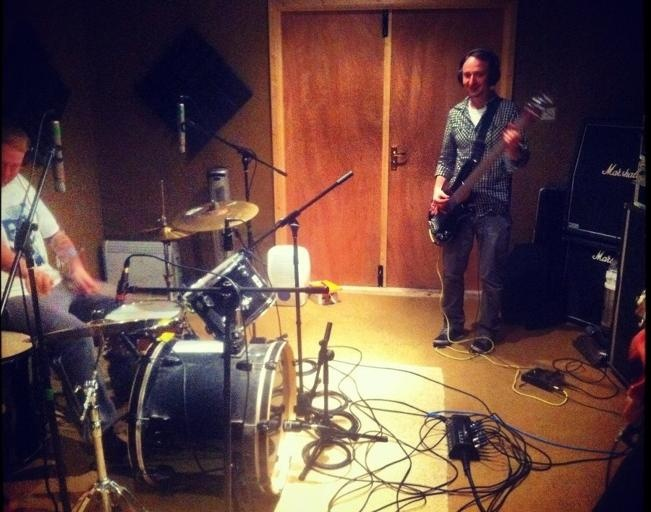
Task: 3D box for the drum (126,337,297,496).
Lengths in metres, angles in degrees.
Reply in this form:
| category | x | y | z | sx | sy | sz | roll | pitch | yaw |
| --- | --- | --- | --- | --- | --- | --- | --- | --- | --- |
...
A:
| category | x | y | z | sx | sy | sz | roll | pitch | yaw |
| --- | --- | --- | --- | --- | --- | --- | --- | --- | --- |
| drum | -0.743 | 1.024 | 3.318 | 0.900 | 0.890 | 0.905 | 4 | -17 | -3 |

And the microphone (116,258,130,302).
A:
| category | x | y | z | sx | sy | sz | roll | pitch | yaw |
| --- | --- | --- | --- | --- | --- | --- | --- | --- | --- |
| microphone | -1.012 | 0.118 | 2.976 | 0.053 | 0.223 | 0.496 | 1 | 1 | -19 |

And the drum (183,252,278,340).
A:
| category | x | y | z | sx | sy | sz | roll | pitch | yaw |
| --- | --- | --- | --- | --- | --- | --- | --- | --- | --- |
| drum | -0.569 | 0.236 | 3.568 | 0.488 | 0.363 | 0.537 | -37 | 9 | 7 |

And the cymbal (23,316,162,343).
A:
| category | x | y | z | sx | sy | sz | roll | pitch | yaw |
| --- | --- | --- | --- | --- | --- | --- | --- | --- | --- |
| cymbal | -1.082 | 0.356 | 2.956 | 0.294 | 0.062 | 0.308 | -11 | -3 | 6 |
